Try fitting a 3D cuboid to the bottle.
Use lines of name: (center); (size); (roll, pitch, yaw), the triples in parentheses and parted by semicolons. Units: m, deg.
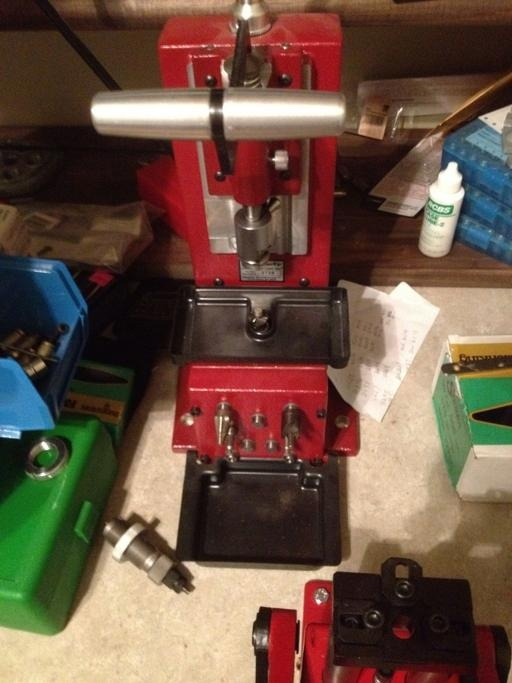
bottle: (0.326, -0.227, 0.984); (0.061, 0.195, 0.044); (11, 59, 15)
